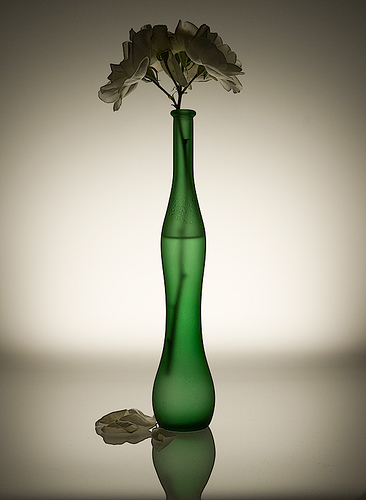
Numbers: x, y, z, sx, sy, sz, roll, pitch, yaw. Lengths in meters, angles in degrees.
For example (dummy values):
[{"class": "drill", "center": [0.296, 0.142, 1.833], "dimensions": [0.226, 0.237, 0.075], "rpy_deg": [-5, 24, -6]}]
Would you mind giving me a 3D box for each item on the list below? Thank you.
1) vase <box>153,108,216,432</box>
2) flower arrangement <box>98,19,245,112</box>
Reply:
[{"class": "vase", "center": [0.005, 0.048, 1.194], "dimensions": [0.138, 0.719, 0.138], "rpy_deg": [1, 3, 3]}, {"class": "flower arrangement", "center": [-0.021, -0.399, 1.180], "dimensions": [0.298, 0.201, 0.266], "rpy_deg": [1, 3, 4]}]
